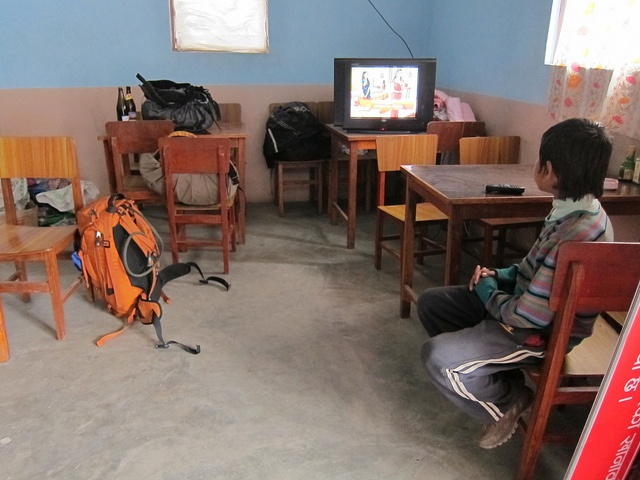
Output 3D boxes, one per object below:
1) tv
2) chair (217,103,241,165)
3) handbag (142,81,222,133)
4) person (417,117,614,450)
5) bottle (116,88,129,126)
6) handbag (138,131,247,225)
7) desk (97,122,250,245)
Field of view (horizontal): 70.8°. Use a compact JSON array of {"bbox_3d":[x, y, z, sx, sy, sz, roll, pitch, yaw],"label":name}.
[{"bbox_3d":[0.613,-1.370,4.053,0.979,0.667,0.539,3,37,10],"label":"tv"},{"bbox_3d":[-0.913,-1.090,4.491,0.304,0.490,0.312,-9,45,-19],"label":"chair"},{"bbox_3d":[-1.133,-0.993,3.720,0.596,0.261,0.435,5,43,-19],"label":"handbag"},{"bbox_3d":[0.826,0.211,1.950,0.749,1.381,0.633,2,22,17],"label":"person"},{"bbox_3d":[-1.702,-1.161,3.858,0.086,0.261,0.457,-9,22,-22],"label":"bottle"},{"bbox_3d":[-0.872,-0.473,3.556,0.849,0.401,0.967,-12,27,-31],"label":"handbag"},{"bbox_3d":[-1.031,-0.452,3.649,0.907,0.881,0.676,0,-17,-8],"label":"desk"}]
